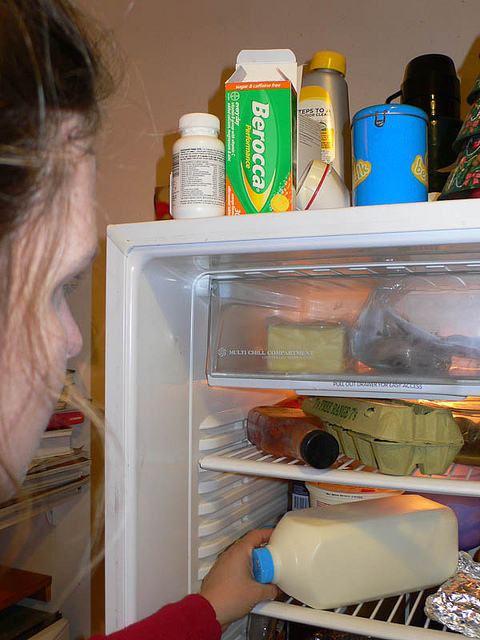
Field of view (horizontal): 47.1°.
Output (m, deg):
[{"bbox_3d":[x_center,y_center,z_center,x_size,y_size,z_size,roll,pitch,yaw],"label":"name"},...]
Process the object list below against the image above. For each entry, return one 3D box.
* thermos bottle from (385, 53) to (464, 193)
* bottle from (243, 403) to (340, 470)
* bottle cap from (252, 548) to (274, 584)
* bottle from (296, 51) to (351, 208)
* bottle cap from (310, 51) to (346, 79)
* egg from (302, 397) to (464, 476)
[{"bbox_3d":[0.313,-0.338,0.947,0.125,0.238,0.149,2,10,16],"label":"thermos bottle"},{"bbox_3d":[0.103,0.212,0.994,0.079,0.063,0.159,3,2,-18],"label":"bottle"},{"bbox_3d":[0.037,0.396,0.883,0.028,0.057,0.054,1,0,-14],"label":"bottle cap"},{"bbox_3d":[0.126,-0.325,0.916,0.087,0.272,0.241,3,10,20],"label":"bottle"},{"bbox_3d":[0.154,-0.453,0.975,0.044,0.027,0.046,22,18,35],"label":"bottle cap"},{"bbox_3d":[0.259,0.146,0.965,0.229,0.132,0.214,-4,8,-38],"label":"egg"}]
